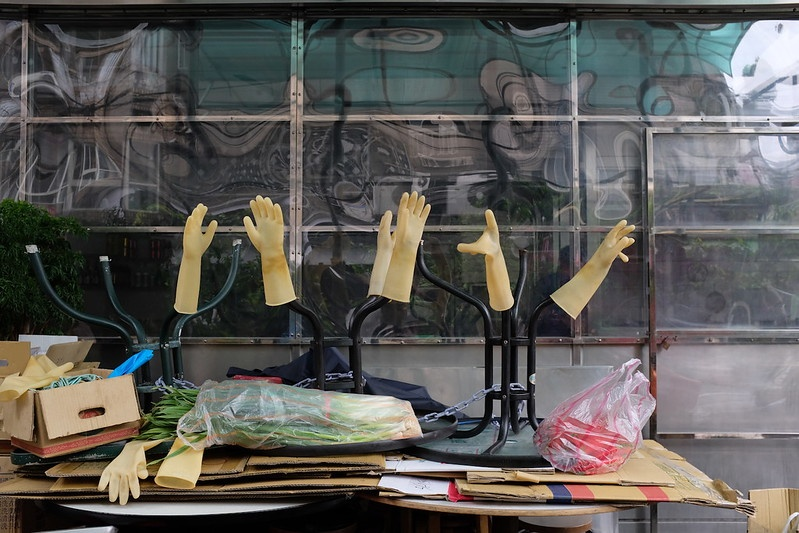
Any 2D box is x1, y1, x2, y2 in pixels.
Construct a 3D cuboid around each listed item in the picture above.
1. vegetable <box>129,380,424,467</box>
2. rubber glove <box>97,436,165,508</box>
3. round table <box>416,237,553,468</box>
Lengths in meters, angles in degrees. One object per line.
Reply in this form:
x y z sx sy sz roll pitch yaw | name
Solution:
-0.668 0.994 7.641 2.042 0.627 0.484 1 -42 1 | vegetable
-1.656 1.247 7.265 0.247 0.381 0.117 12 -41 -15 | rubber glove
0.698 0.518 7.694 1.149 1.284 1.234 1 5 0 | round table
